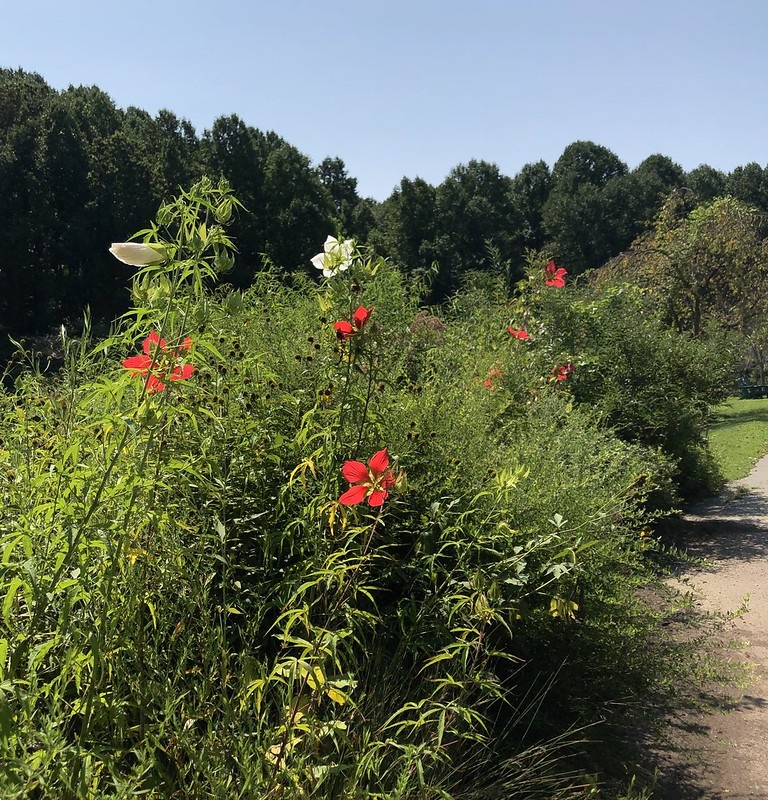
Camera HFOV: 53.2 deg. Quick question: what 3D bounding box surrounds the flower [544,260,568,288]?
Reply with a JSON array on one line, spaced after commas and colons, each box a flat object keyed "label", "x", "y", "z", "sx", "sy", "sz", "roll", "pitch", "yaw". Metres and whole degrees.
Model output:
[{"label": "flower", "x": 1.397, "y": -1.023, "z": 6.295, "sx": 0.165, "sy": 0.215, "sz": 0.450, "roll": 0, "pitch": 8, "yaw": 12}]

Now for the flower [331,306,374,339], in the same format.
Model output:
[{"label": "flower", "x": -0.090, "y": -0.217, "z": 2.138, "sx": 0.110, "sy": 0.035, "sz": 0.074, "roll": -33, "pitch": 25, "yaw": 10}]

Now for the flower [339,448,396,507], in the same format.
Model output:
[{"label": "flower", "x": -0.054, "y": 0.188, "z": 2.049, "sx": 0.143, "sy": 0.151, "sz": 0.052, "roll": 41, "pitch": -11, "yaw": -24}]

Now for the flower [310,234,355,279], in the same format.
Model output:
[{"label": "flower", "x": -0.129, "y": -0.396, "z": 2.137, "sx": 0.091, "sy": 0.108, "sz": 0.101, "roll": -1, "pitch": 8, "yaw": -2}]

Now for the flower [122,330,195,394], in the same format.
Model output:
[{"label": "flower", "x": -0.531, "y": -0.079, "z": 1.797, "sx": 0.158, "sy": 0.175, "sz": 0.068, "roll": 2, "pitch": -7, "yaw": -16}]

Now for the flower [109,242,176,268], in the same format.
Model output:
[{"label": "flower", "x": -0.577, "y": -0.331, "z": 1.742, "sx": 0.160, "sy": 0.063, "sz": 0.128, "roll": 6, "pitch": 11, "yaw": 41}]
